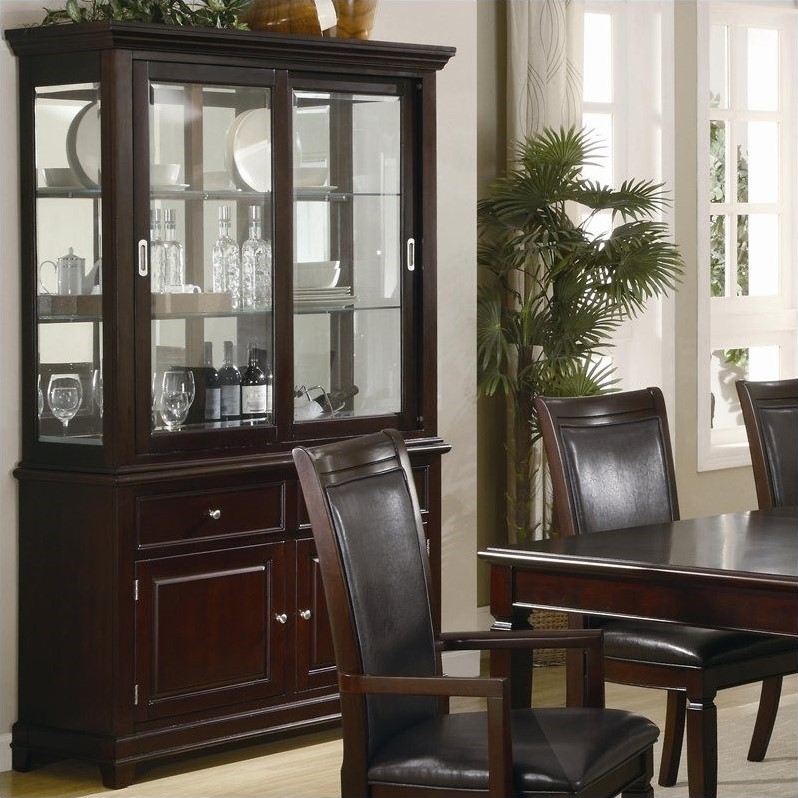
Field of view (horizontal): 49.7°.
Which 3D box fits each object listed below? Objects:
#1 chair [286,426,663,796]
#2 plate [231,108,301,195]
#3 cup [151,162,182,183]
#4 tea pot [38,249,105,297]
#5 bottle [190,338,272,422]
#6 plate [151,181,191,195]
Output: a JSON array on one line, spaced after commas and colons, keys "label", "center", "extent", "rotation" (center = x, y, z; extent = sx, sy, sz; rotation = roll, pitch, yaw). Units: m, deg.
[{"label": "chair", "center": [0.129, 0.265, 1.561], "extent": [0.560, 0.896, 0.553], "rotation": [-3, -4, 25]}, {"label": "plate", "center": [-0.396, -0.740, 2.566], "extent": [0.190, 0.211, 0.034], "rotation": [-8, 16, -41]}, {"label": "cup", "center": [-0.663, -0.636, 2.447], "extent": [0.060, 0.048, 0.057], "rotation": [-1, -2, 0]}, {"label": "tea pot", "center": [-0.921, -0.352, 2.448], "extent": [0.163, 0.157, 0.119], "rotation": [0, 4, 7]}, {"label": "bottle", "center": [-0.522, -0.056, 2.617], "extent": [0.223, 0.266, 0.072], "rotation": [-1, 3, -43]}, {"label": "plate", "center": [-0.652, -0.598, 2.464], "extent": [0.005, 0.042, 0.143], "rotation": [1, 5, 33]}]
